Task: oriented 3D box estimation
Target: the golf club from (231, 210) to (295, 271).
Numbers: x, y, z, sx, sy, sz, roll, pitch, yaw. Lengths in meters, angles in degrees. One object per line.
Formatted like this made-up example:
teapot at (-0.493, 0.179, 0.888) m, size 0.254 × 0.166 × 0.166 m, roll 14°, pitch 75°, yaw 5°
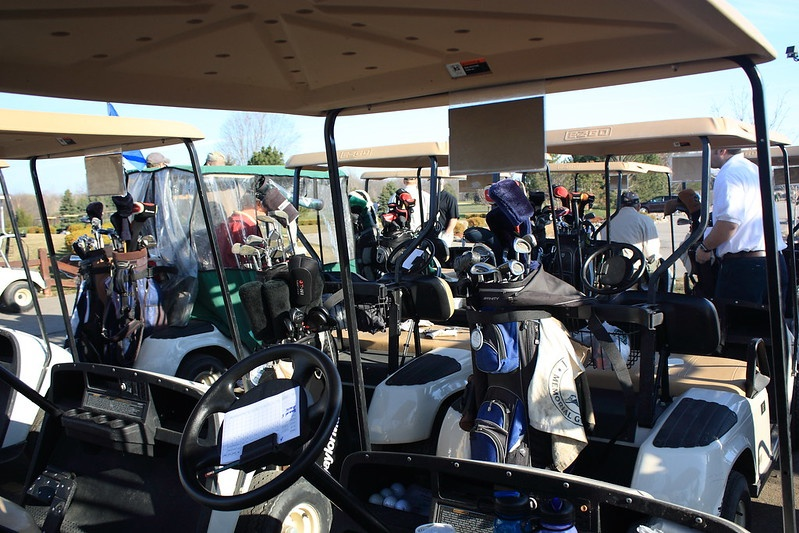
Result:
golf club at (-1.093, -0.197, 4.549) m, size 0.384 × 0.366 × 0.398 m, roll -12°, pitch 22°, yaw -17°

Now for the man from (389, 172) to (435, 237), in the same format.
man at (0.352, -1.130, 10.258) m, size 0.881 × 1.195 × 1.195 m, roll 1°, pitch -1°, yaw 2°

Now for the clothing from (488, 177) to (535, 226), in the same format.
clothing at (0.611, -0.350, 3.213) m, size 0.250 × 0.253 × 0.090 m, roll -35°, pitch 3°, yaw -29°

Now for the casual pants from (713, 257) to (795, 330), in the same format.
casual pants at (2.630, 0.201, 4.216) m, size 0.496 × 0.714 × 0.380 m, roll 8°, pitch -7°, yaw -24°

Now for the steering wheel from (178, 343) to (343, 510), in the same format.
steering wheel at (-0.506, 0.554, 2.040) m, size 0.605 × 0.503 × 0.419 m, roll -2°, pitch 6°, yaw -3°
